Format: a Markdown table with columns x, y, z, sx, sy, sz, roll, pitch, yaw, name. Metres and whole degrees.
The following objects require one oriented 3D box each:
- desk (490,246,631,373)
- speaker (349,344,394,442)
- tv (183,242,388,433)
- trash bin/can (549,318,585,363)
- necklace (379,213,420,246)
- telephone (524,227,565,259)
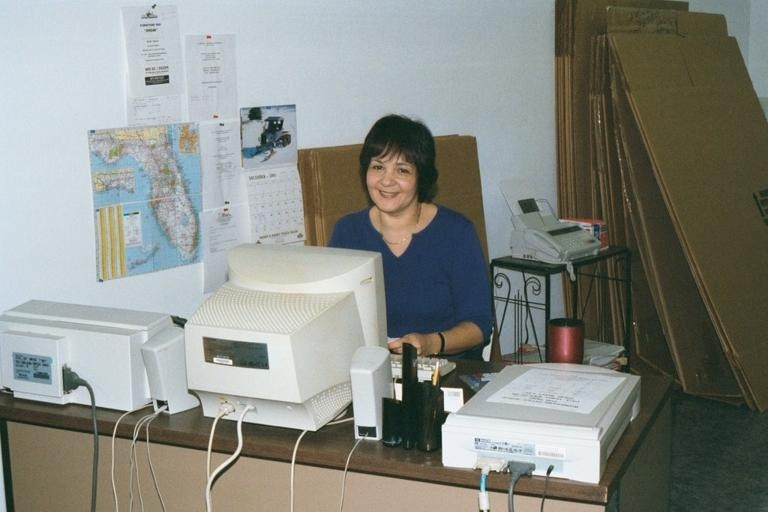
| x | y | z | sx | sy | sz | roll | pitch | yaw | name |
| --- | --- | --- | --- | --- | --- | --- | --- | --- | --- |
| 1.113 | 0.064 | 4.202 | 0.684 | 0.982 | 1.019 | 6 | 11 | 41 | desk |
| -0.039 | 0.442 | 2.181 | 0.133 | 0.276 | 0.158 | -2 | 12 | 1 | speaker |
| -0.296 | 0.229 | 2.336 | 0.736 | 0.638 | 0.552 | 5 | 12 | 28 | tv |
| 0.725 | 0.349 | 2.773 | 0.172 | 0.193 | 0.168 | -1 | 7 | 9 | trash bin/can |
| 0.081 | -0.126 | 2.936 | 0.107 | 0.035 | 0.137 | -7 | 52 | 20 | necklace |
| 0.933 | -0.063 | 3.927 | 0.240 | 0.170 | 0.048 | 9 | 16 | 43 | telephone |
